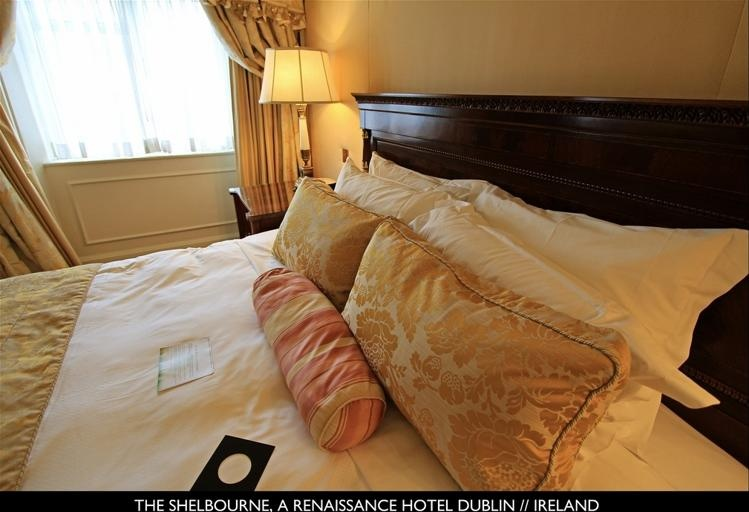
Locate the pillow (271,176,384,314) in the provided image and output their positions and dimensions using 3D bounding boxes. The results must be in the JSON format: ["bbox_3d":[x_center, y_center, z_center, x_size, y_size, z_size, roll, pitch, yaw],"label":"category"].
[{"bbox_3d":[-0.202,-0.078,1.855,0.271,0.262,0.689,-17,36,-31],"label":"pillow"}]

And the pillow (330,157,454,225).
[{"bbox_3d":[0.087,-0.275,1.875,0.160,0.152,0.349,-35,48,-29],"label":"pillow"}]

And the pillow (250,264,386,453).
[{"bbox_3d":[-0.218,0.305,1.549,0.258,0.215,0.789,-15,35,-24],"label":"pillow"}]

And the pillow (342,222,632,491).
[{"bbox_3d":[0.193,0.205,1.464,0.394,0.601,1.038,-29,49,-29],"label":"pillow"}]

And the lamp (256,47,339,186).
[{"bbox_3d":[-0.469,-0.889,2.857,0.510,0.866,0.461,-4,18,-11],"label":"lamp"}]
